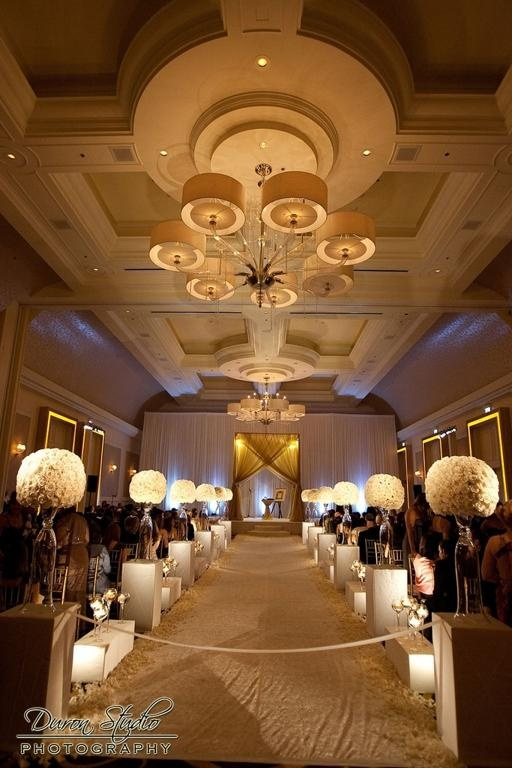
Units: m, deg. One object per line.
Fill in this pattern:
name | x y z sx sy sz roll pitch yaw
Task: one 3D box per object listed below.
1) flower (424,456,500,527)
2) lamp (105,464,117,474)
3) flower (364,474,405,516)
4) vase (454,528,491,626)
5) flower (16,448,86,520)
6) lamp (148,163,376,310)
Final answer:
flower | 1.417 0.630 3.052 0.447 0.436 0.456 2 -7 -20
lamp | -5.630 2.939 17.224 0.227 0.267 0.272 3 -33 -11
flower | 1.617 1.183 5.323 0.511 0.515 0.510 3 1 -3
vase | 1.360 1.075 2.865 0.165 0.501 0.278 -5 -16 22
flower | -1.440 0.645 3.311 0.452 0.478 0.498 2 -3 -14
lamp | 0.088 -1.683 5.235 2.342 1.572 2.262 5 7 11
